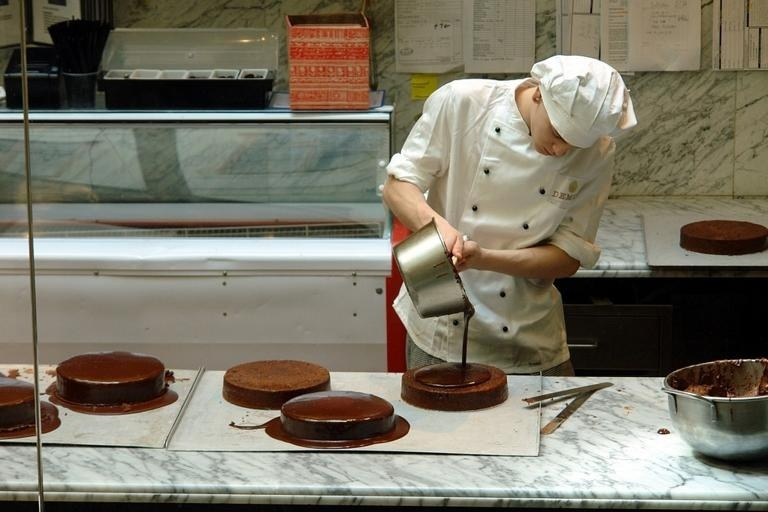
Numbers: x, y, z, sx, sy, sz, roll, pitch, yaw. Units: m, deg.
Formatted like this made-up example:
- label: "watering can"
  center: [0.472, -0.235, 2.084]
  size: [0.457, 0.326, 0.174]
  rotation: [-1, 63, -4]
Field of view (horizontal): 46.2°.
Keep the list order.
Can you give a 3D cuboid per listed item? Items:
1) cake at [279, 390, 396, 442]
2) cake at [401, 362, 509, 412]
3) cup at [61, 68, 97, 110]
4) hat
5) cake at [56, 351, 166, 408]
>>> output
- label: "cake"
  center: [-0.120, 0.416, 2.332]
  size: [0.288, 0.080, 0.141]
  rotation: [-2, 12, -2]
- label: "cake"
  center: [0.190, 0.356, 2.474]
  size: [0.288, 0.078, 0.194]
  rotation: [0, 12, 7]
- label: "cup"
  center: [-1.146, -0.628, 3.399]
  size: [0.166, 0.160, 0.149]
  rotation: [0, 7, -4]
- label: "hat"
  center: [0.555, -0.434, 2.531]
  size: [0.282, 0.252, 0.146]
  rotation: [0, 13, 9]
- label: "cake"
  center: [-0.748, 0.333, 2.460]
  size: [0.274, 0.105, 0.192]
  rotation: [-7, 13, -25]
